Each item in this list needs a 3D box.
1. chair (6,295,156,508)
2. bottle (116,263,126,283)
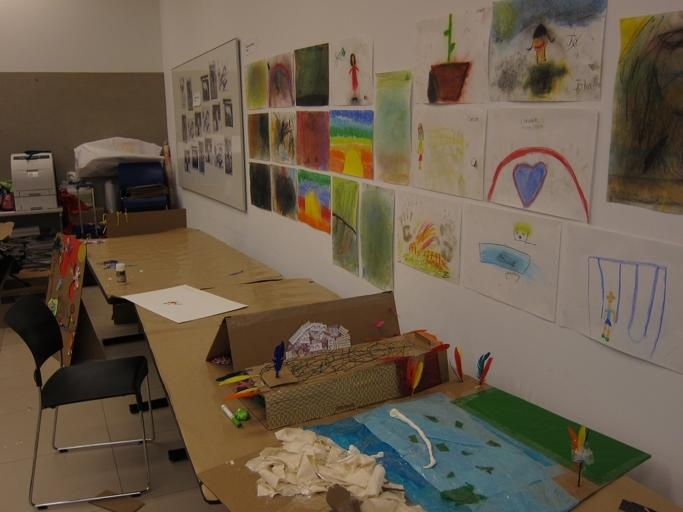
[{"bbox_3d":[-1.578,0.911,2.928,0.671,1.104,0.624,0,22,-9],"label":"chair"},{"bbox_3d":[-1.453,0.117,3.206,0.074,0.138,0.081,-1,15,-12],"label":"bottle"}]
